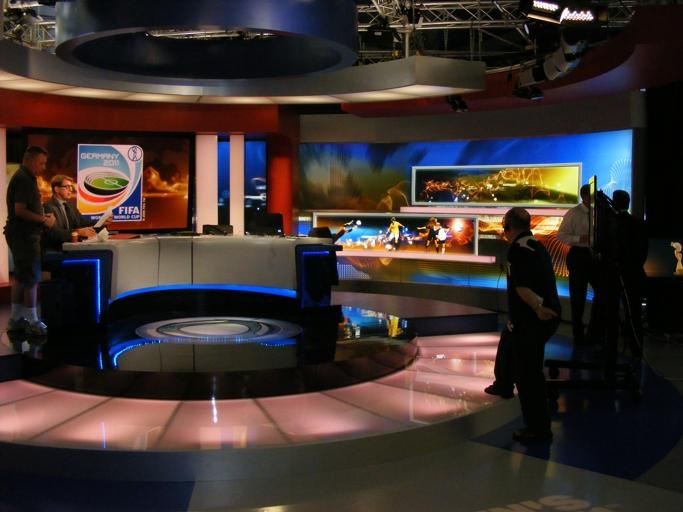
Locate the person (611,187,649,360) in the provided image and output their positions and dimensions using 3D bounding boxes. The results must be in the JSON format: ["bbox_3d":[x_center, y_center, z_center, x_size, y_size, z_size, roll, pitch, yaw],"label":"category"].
[{"bbox_3d":[3.090,0.217,6.300,0.361,1.831,1.224,3,7,27],"label":"person"}]

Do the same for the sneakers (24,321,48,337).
[{"bbox_3d":[-3.143,0.739,6.055,0.323,0.148,0.146,2,2,26],"label":"sneakers"}]

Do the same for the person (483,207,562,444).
[{"bbox_3d":[1.503,0.534,4.815,0.548,1.861,0.421,2,6,14],"label":"person"}]

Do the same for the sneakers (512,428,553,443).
[{"bbox_3d":[1.536,1.452,4.721,0.254,0.087,0.119,3,-2,3],"label":"sneakers"}]

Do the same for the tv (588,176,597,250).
[{"bbox_3d":[2.402,-0.424,5.580,0.065,0.680,0.323,3,7,24],"label":"tv"}]

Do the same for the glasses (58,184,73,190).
[{"bbox_3d":[-3.049,-0.764,6.463,0.137,0.041,0.131,0,3,20],"label":"glasses"}]

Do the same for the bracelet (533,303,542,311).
[{"bbox_3d":[1.548,0.398,4.614,0.050,0.049,0.052,5,46,-40],"label":"bracelet"}]

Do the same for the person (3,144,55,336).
[{"bbox_3d":[-3.243,-0.174,6.070,0.475,1.920,0.583,-2,6,-22],"label":"person"}]
